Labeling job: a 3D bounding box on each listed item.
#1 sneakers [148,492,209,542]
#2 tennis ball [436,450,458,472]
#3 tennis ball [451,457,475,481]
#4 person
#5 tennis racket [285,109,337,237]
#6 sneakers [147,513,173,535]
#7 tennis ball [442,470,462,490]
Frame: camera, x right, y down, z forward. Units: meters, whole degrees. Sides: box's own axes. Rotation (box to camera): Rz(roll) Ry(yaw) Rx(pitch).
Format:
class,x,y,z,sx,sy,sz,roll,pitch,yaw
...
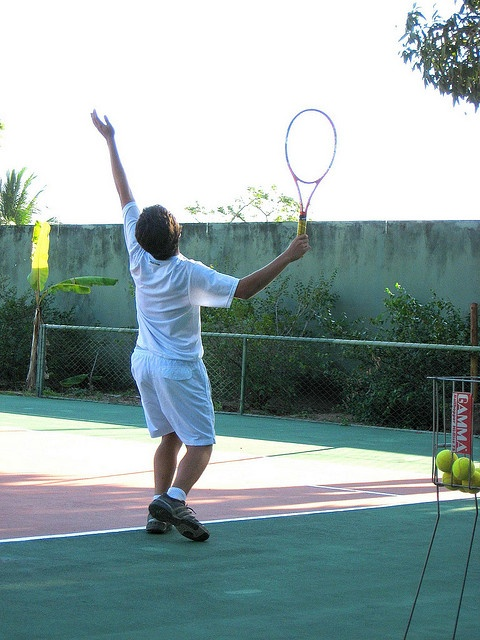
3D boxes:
class,x,y,z,sx,sy,sz,roll,pitch,yaw
sneakers,-0.292,0.886,2.538,0.324,0.187,0.110,1,-1,25
tennis ball,0.559,0.379,1.519,0.057,0.069,0.059,7,-32,4
tennis ball,0.588,0.395,1.486,0.054,0.066,0.062,1,-1,24
person,-0.257,0.057,2.671,0.465,1.752,1.207,2,-1,-41
tennis racket,0.374,-0.720,3.157,0.269,0.043,0.993,7,-42,6
sneakers,-0.384,0.965,2.651,0.059,0.067,0.148,-2,-32,3
tennis ball,0.576,0.433,1.550,0.047,0.048,0.048,11,1,0
